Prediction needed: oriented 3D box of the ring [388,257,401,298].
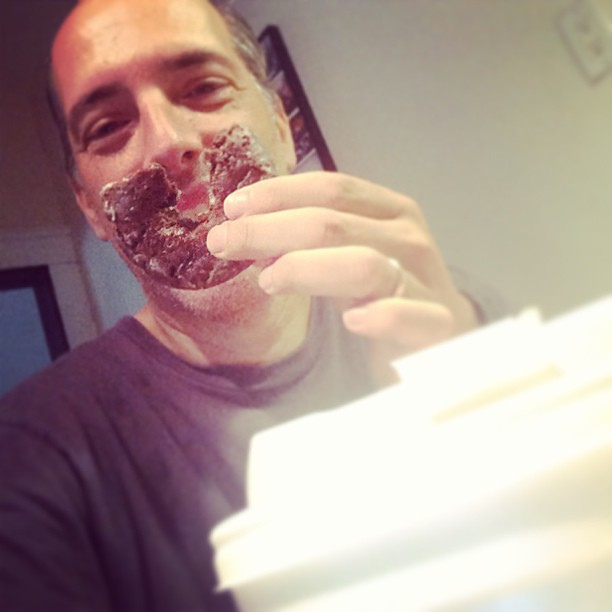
[{"bbox_3d":[0.086,-0.026,0.602,0.011,0.033,0.027,2,4,-3],"label":"ring"}]
